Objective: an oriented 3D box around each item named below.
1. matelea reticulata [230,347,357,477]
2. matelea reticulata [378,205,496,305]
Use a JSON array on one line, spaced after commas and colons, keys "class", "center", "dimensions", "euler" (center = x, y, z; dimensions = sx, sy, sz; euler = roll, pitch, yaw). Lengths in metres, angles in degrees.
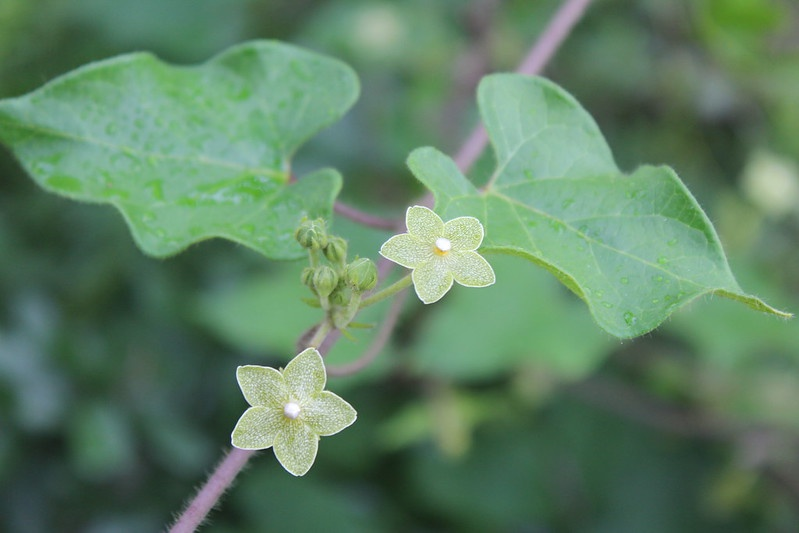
[{"class": "matelea reticulata", "center": [-0.500, 0.641, 3.266], "dimensions": [0.512, 0.296, 0.502], "euler": [-34, 74, -9]}, {"class": "matelea reticulata", "center": [0.175, -0.056, 3.269], "dimensions": [0.506, 0.136, 0.656], "euler": [1, 40, 6]}]
